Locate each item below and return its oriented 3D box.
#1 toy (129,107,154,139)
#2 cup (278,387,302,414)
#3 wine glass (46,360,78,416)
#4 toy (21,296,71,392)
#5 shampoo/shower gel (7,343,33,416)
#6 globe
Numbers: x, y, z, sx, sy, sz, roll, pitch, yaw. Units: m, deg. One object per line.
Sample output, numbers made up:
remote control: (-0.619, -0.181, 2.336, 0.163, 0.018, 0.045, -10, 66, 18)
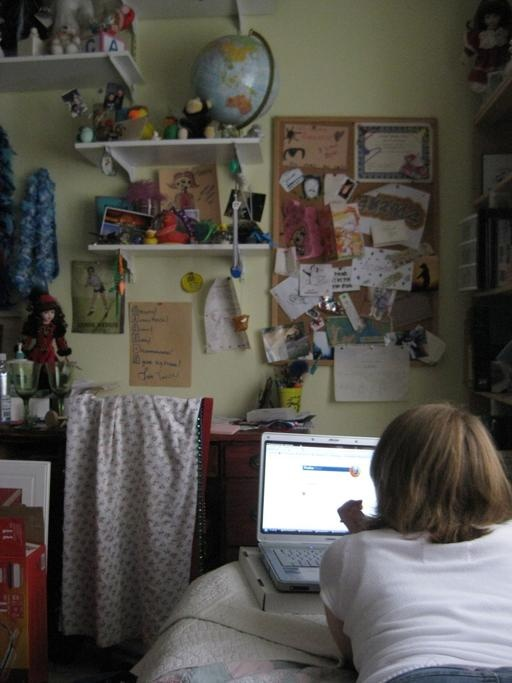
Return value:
toy: (-0.404, -0.767, 2.232, 0.083, 0.134, 0.065, -2, -2, 26)
cup: (0.124, 0.205, 2.266, 0.082, 0.091, 0.065, -1, -2, -16)
wine glass: (-0.644, 0.171, 2.119, 0.104, 0.229, 0.101, 1, 5, -7)
toy: (-0.756, -0.022, 2.315, 0.177, 0.387, 0.160, 2, 5, -28)
shampoo/shower gel: (-0.787, 0.130, 2.143, 0.081, 0.246, 0.240, 0, -2, -21)
globe: (-0.072, -0.869, 2.169, 0.306, 0.278, 0.159, 4, 7, -5)
